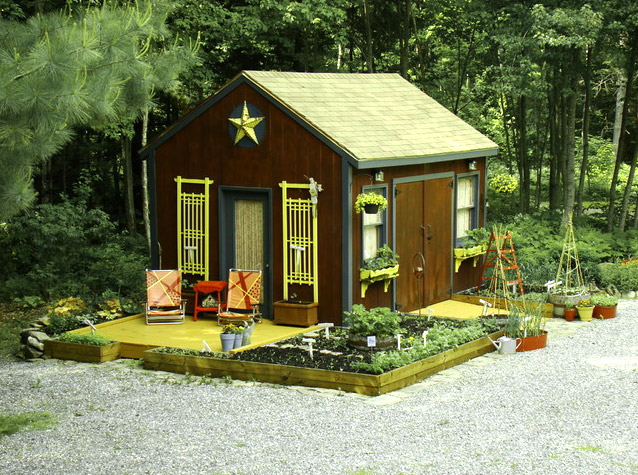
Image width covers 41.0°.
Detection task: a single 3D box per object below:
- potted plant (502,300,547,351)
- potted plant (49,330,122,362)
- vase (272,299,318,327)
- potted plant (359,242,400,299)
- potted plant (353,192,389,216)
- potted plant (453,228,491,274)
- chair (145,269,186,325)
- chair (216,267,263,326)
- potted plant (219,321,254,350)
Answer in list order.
[{"bbox_3d":[4.011,1.732,16.609,0.809,0.785,0.604,-3,14,-6],"label":"potted plant"},{"bbox_3d":[-4.576,2.121,16.429,1.401,0.426,0.498,1,14,10],"label":"potted plant"},{"bbox_3d":[-0.487,1.572,17.537,0.882,0.479,0.316,2,14,12],"label":"vase"},{"bbox_3d":[1.245,0.753,17.829,0.460,1.036,1.141,6,16,27],"label":"potted plant"},{"bbox_3d":[1.045,-0.692,17.322,0.530,0.366,0.440,-1,5,5],"label":"potted plant"},{"bbox_3d":[3.636,0.296,20.539,0.418,0.730,1.061,2,6,29],"label":"potted plant"},{"bbox_3d":[-3.200,1.242,17.854,0.839,1.126,0.775,-1,-1,-15],"label":"chair"},{"bbox_3d":[-1.554,1.243,17.913,0.972,1.416,1.041,0,0,10],"label":"chair"},{"bbox_3d":[-1.535,1.864,16.225,0.301,0.320,0.801,2,-5,13],"label":"potted plant"}]
